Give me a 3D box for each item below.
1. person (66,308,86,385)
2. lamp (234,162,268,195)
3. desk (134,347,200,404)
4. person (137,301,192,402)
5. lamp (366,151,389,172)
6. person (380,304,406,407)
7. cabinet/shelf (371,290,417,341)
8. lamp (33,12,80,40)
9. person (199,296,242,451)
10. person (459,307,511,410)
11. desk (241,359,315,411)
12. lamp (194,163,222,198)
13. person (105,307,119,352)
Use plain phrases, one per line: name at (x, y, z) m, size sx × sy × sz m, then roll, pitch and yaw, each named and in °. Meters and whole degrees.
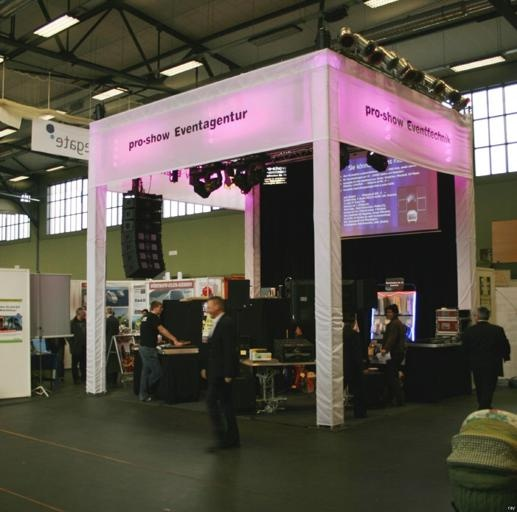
person at (-3.420, 1.674, 11.094) m, size 0.294 × 1.389 × 0.560 m, roll 0°, pitch -3°, yaw -19°
lamp at (-0.199, -1.482, 11.191) m, size 0.608 × 0.473 × 0.653 m, roll -1°, pitch -3°, yaw -4°
desk at (-1.240, 1.760, 8.783) m, size 0.686 × 0.814 × 0.426 m, roll -1°, pitch -3°, yaw -13°
person at (-1.471, 1.432, 9.029) m, size 0.652 × 1.508 × 0.613 m, roll -2°, pitch -10°, yaw 22°
lamp at (2.101, -1.715, 10.614) m, size 0.350 × 0.350 × 0.208 m, roll -2°, pitch -3°, yaw 8°
person at (1.921, 1.405, 8.456) m, size 0.308 × 1.392 × 0.554 m, roll -2°, pitch -3°, yaw 19°
cabinet/shelf at (2.234, 1.005, 9.807) m, size 0.728 × 1.064 × 0.311 m, roll -2°, pitch -10°, yaw 17°
lamp at (-3.635, -4.192, 10.681) m, size 1.024 × 0.173 × 0.505 m, roll -5°, pitch -4°, yaw 43°
person at (-0.374, 1.172, 5.961) m, size 0.318 × 1.501 × 0.326 m, roll -1°, pitch -3°, yaw -3°
person at (2.854, 1.291, 7.409) m, size 0.529 × 1.284 × 0.366 m, roll -2°, pitch -3°, yaw 5°
desk at (0.164, 1.789, 8.044) m, size 0.893 × 0.656 × 0.964 m, roll -9°, pitch -13°, yaw 26°
lamp at (-0.963, -1.435, 11.217) m, size 0.610 × 0.537 × 0.602 m, roll -2°, pitch -3°, yaw 13°
person at (-2.732, 1.373, 10.972) m, size 0.231 × 0.816 × 0.599 m, roll 0°, pitch -3°, yaw -15°
